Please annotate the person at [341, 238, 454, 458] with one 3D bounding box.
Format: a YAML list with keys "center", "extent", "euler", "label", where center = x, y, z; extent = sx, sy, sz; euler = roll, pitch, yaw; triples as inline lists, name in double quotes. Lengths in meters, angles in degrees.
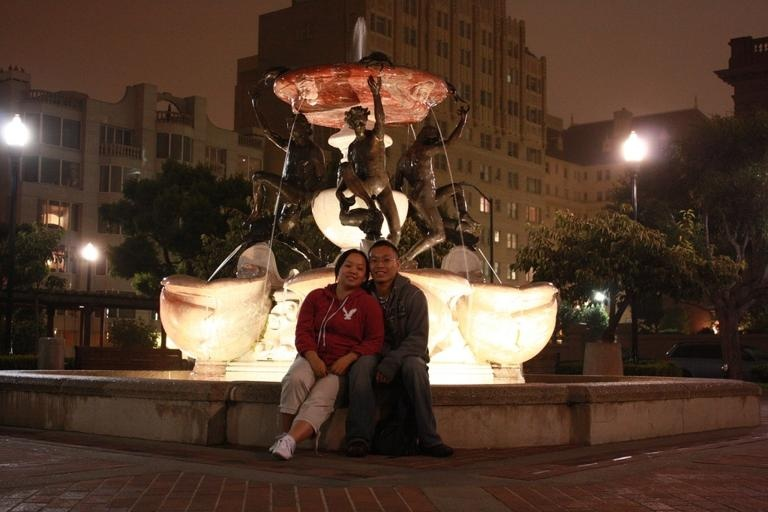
- center: [0.125, 1.062, 9.622]
  extent: [1.082, 2.417, 0.913]
  euler: [2, 4, -3]
  label: "person"

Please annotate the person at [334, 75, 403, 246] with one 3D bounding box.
- center: [-0.211, -1.486, 12.893]
  extent: [0.821, 2.566, 1.051]
  euler: [-1, 5, -40]
  label: "person"

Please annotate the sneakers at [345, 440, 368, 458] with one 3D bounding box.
- center: [-0.287, 2.134, 9.324]
  extent: [0.243, 0.185, 0.207]
  euler: [2, 4, -5]
  label: "sneakers"

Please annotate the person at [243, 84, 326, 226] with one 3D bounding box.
- center: [-1.561, -1.648, 13.807]
  extent: [1.229, 2.492, 0.709]
  euler: [2, 4, 3]
  label: "person"

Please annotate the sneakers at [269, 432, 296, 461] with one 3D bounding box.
- center: [-1.069, 2.046, 8.958]
  extent: [0.262, 0.285, 0.262]
  euler: [-1, 5, -39]
  label: "sneakers"
